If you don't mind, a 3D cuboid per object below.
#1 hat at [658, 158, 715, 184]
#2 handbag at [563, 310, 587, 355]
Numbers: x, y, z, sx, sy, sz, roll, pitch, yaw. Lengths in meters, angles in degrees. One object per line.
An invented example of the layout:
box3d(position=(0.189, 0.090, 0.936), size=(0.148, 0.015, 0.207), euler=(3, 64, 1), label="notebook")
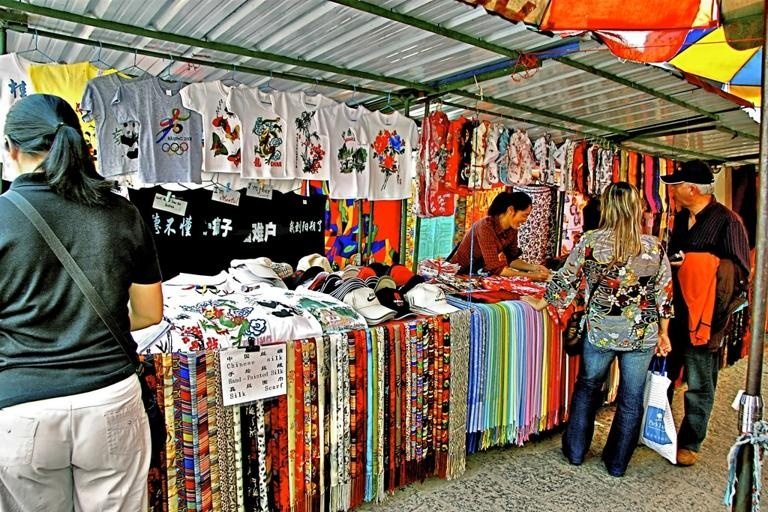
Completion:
box3d(position=(2.450, -0.674, 4.649), size=(0.321, 0.163, 0.200), euler=(12, 18, 35), label="hat")
box3d(position=(1.527, 0.618, 4.626), size=(0.073, 0.302, 0.219), euler=(8, 1, 31), label="handbag")
